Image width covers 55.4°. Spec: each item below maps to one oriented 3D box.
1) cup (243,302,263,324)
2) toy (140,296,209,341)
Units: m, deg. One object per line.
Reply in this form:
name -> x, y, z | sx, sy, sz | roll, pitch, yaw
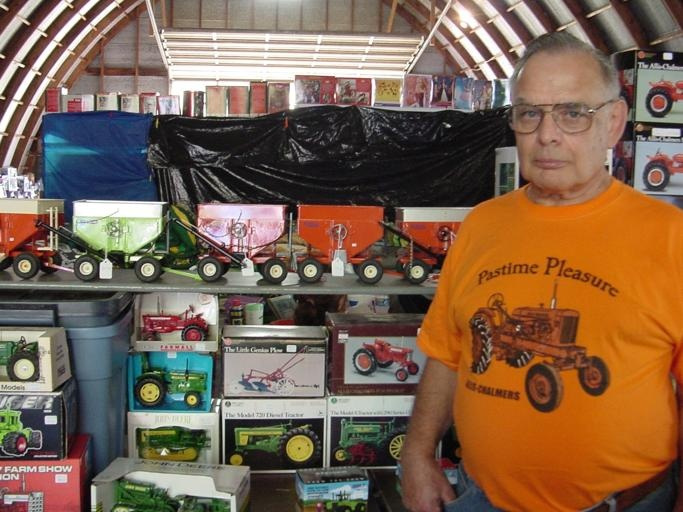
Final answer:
cup -> -0.810, 0.534, 6.080 | 0.232, 0.190, 0.204 | -5, 11, -24
toy -> -1.162, 0.465, 4.499 | 0.522, 0.277, 0.243 | 1, -1, -2
